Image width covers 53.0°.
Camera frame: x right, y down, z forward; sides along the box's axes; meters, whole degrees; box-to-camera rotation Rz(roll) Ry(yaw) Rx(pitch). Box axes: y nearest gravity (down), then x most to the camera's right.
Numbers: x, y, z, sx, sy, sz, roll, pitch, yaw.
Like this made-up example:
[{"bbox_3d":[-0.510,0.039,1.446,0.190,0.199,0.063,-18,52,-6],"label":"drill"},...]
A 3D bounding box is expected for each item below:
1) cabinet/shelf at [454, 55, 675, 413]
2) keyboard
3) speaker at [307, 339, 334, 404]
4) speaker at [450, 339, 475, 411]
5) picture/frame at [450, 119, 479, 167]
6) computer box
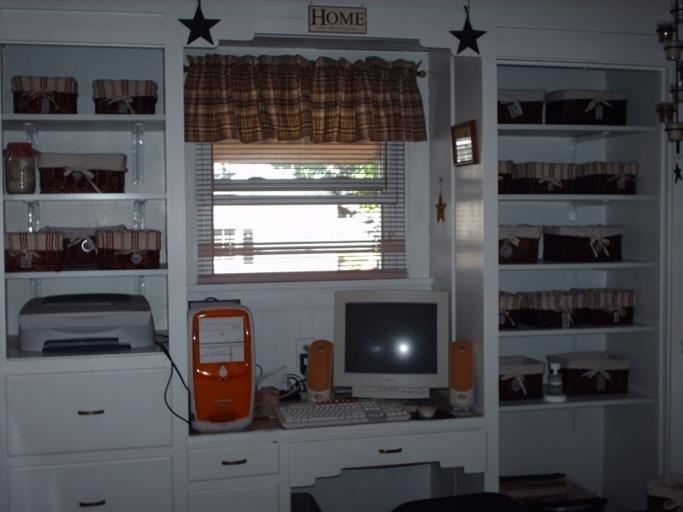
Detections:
[{"bbox_3d":[1.129,-0.063,3.713,1.063,2.017,0.525,-2,2,-10],"label":"cabinet/shelf"},{"bbox_3d":[0.016,0.763,3.381,0.658,0.080,0.240,-2,3,-8],"label":"keyboard"},{"bbox_3d":[-0.107,0.580,3.471,0.129,0.297,0.093,-1,3,12],"label":"speaker"},{"bbox_3d":[0.607,0.599,3.440,0.119,0.349,0.058,-1,2,8],"label":"speaker"},{"bbox_3d":[0.629,-0.570,3.445,0.032,0.243,0.238,-9,11,-28],"label":"picture/frame"},{"bbox_3d":[-0.587,0.530,3.357,0.423,0.610,0.419,-3,-3,43],"label":"computer box"}]
